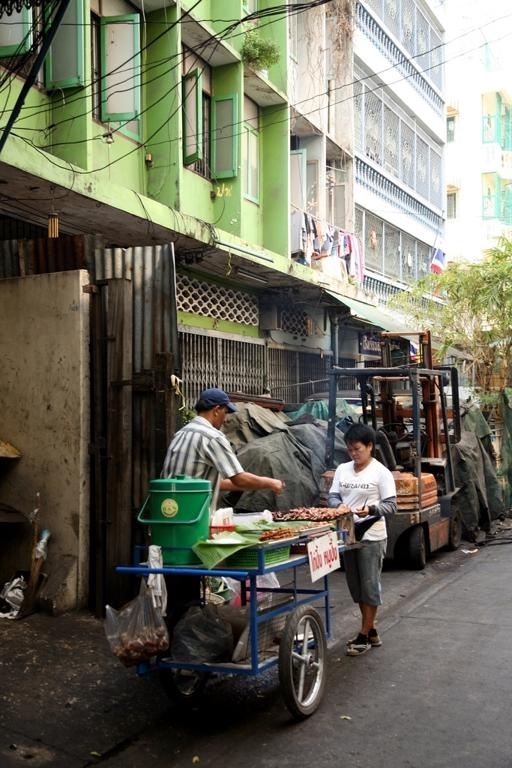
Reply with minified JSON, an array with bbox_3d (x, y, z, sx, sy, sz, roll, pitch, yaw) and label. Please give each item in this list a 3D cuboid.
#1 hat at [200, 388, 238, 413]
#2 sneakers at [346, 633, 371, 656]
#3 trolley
[{"bbox_3d":[-0.244,0.107,4.300,0.193,0.117,0.125,2,2,-40],"label":"hat"},{"bbox_3d":[0.721,1.865,4.952,0.076,0.108,0.235,-6,-15,27],"label":"sneakers"},{"bbox_3d":[-0.144,1.340,3.826,0.768,0.858,1.247,-13,-15,36],"label":"trolley"}]
